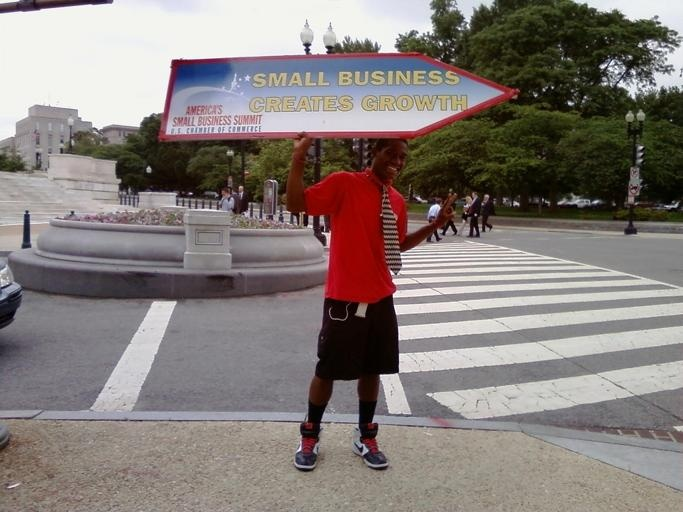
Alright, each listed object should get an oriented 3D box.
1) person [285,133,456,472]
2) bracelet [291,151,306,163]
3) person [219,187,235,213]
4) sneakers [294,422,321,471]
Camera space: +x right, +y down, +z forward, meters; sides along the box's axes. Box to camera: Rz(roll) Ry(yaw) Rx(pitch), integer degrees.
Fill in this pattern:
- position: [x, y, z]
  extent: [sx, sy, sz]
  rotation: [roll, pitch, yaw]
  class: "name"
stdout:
- position: [0.171, 0.290, 3.866]
  extent: [1.132, 2.268, 0.603]
  rotation: [-3, 9, -33]
  class: "person"
- position: [-0.291, -0.670, 3.637]
  extent: [0.060, 0.040, 0.076]
  rotation: [-1, 2, -26]
  class: "bracelet"
- position: [-3.734, -1.849, 17.817]
  extent: [0.407, 0.857, 1.941]
  rotation: [0, 9, -12]
  class: "person"
- position: [-0.239, 1.306, 3.786]
  extent: [0.164, 0.246, 0.338]
  rotation: [2, 8, 0]
  class: "sneakers"
